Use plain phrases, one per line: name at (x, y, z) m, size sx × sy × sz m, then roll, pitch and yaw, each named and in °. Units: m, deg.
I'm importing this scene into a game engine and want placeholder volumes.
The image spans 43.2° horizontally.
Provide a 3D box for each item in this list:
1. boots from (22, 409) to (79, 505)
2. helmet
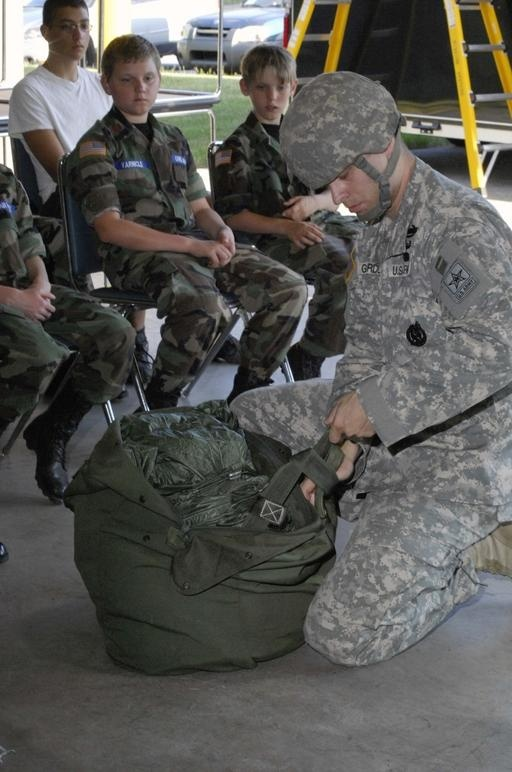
boots at (-0.695, 0.241, 2.171) m, size 0.115 × 0.235 × 0.319 m, roll 1°, pitch 56°, yaw -49°
helmet at (0.154, -0.503, 1.287) m, size 0.228 × 0.221 × 0.183 m, roll 20°, pitch 30°, yaw 20°
